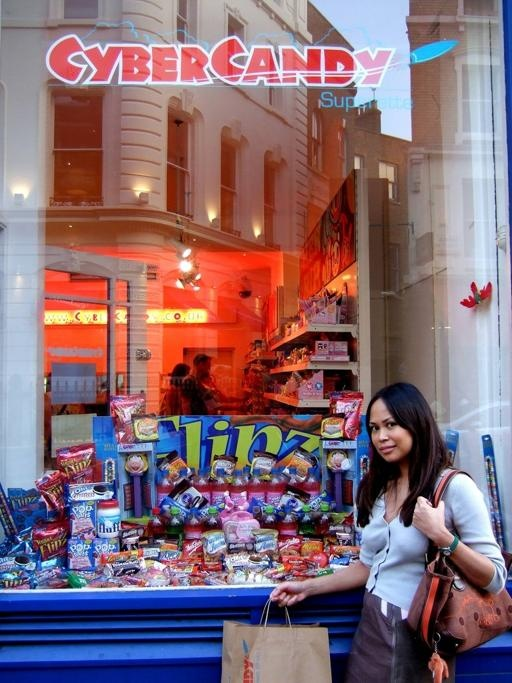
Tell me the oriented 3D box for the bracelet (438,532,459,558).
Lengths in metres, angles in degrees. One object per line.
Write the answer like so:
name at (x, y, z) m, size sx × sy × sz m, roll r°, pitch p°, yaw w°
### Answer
bracelet at (0.559, 0.591, 2.218) m, size 0.063 × 0.039 × 0.064 m, roll -47°, pitch -4°, yaw -2°

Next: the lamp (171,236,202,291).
lamp at (-0.788, -0.945, 8.559) m, size 0.300 × 0.574 × 0.305 m, roll -12°, pitch 9°, yaw -3°

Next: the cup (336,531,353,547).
cup at (0.374, 0.834, 3.267) m, size 0.054 × 0.057 × 0.043 m, roll 1°, pitch -6°, yaw 29°
